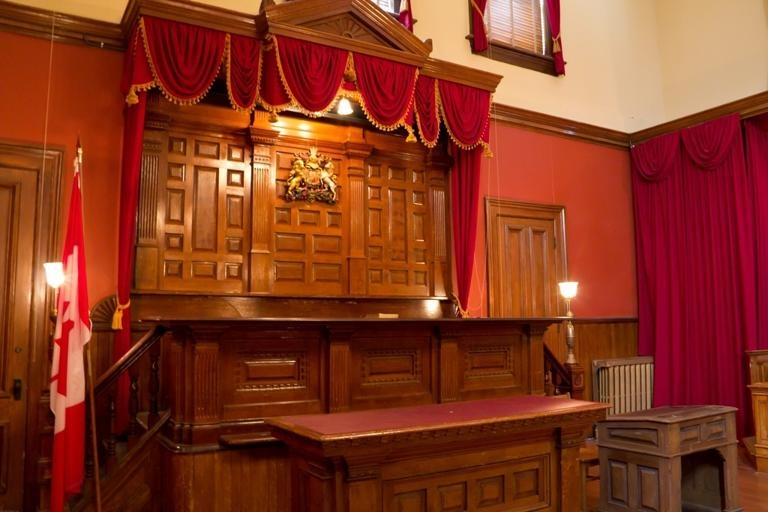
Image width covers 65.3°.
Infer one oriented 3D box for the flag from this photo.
[{"bbox_3d":[-2.753,0.629,5.288,0.332,3.015,0.287,-5,-6,38],"label":"flag"}]
